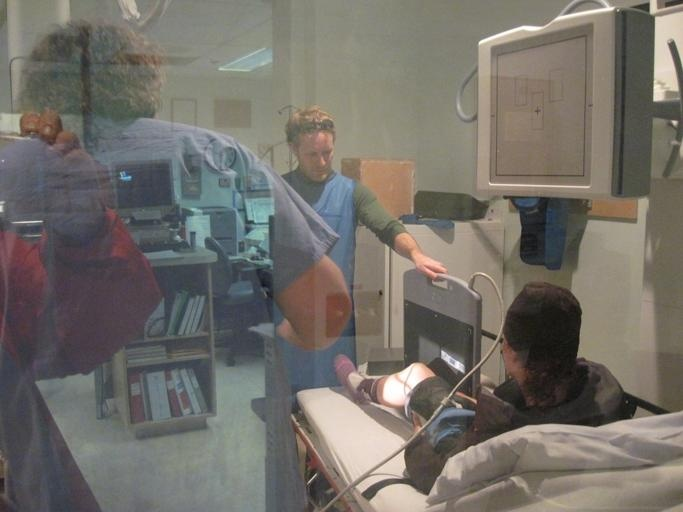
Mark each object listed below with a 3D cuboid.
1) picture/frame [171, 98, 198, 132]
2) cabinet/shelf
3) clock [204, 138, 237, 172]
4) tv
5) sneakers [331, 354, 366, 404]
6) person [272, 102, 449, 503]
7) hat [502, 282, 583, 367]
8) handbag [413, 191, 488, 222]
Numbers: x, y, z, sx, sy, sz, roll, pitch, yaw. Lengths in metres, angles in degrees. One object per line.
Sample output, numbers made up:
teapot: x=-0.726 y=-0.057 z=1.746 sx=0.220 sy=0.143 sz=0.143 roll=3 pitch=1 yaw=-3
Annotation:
picture/frame: x=-0.370 y=-0.338 z=1.507 sx=0.066 sy=0.082 sz=0.008 roll=3 pitch=10 yaw=-5
cabinet/shelf: x=-0.483 y=0.244 z=1.655 sx=0.327 sy=0.453 sz=0.307 roll=-2 pitch=-9 yaw=-17
clock: x=-0.288 y=-0.237 z=1.518 sx=0.070 sy=0.077 sz=0.018 roll=-2 pitch=1 yaw=-1
tv: x=-0.468 y=-0.156 z=1.519 sx=0.160 sy=0.141 sz=0.044 roll=-2 pitch=8 yaw=12
sneakers: x=0.016 y=0.296 z=1.589 sx=0.049 sy=0.139 sz=0.051 roll=-36 pitch=0 yaw=11
person: x=-0.027 y=0.098 z=1.614 sx=0.461 sy=0.905 sz=0.250 roll=-2 pitch=27 yaw=3
hat: x=0.486 y=0.138 z=1.569 sx=0.139 sy=0.197 sz=0.201 roll=8 pitch=20 yaw=20
handbag: x=0.261 y=-0.118 z=1.530 sx=0.111 sy=0.044 sz=0.081 roll=3 pitch=0 yaw=-9
